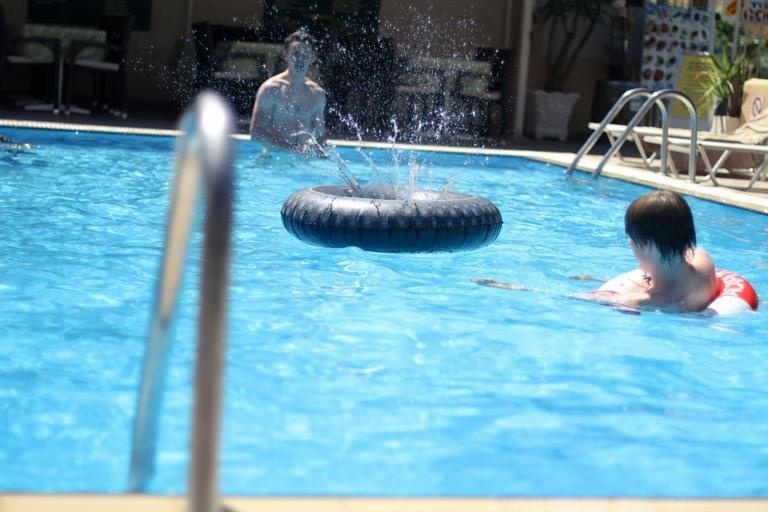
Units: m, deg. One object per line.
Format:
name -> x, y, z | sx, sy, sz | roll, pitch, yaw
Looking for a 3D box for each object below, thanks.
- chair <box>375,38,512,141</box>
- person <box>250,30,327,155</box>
chair -> 1.018, -2.697, 11.292 | 1.926, 1.551, 1.214 | 6, 12, -1
person -> -0.927, -1.599, 6.800 | 0.743, 1.201, 0.572 | 4, 12, -9
